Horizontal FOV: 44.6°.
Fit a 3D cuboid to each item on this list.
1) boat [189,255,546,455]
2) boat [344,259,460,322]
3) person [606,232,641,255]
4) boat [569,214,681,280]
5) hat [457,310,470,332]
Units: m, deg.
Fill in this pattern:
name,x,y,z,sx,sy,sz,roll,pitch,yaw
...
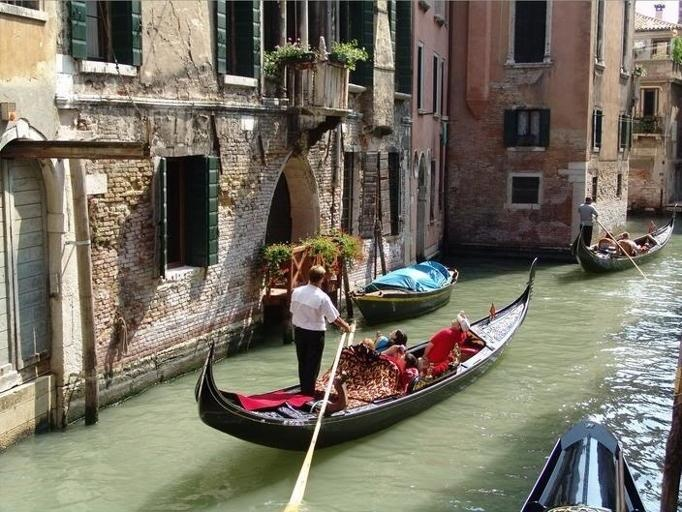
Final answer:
name,x,y,z,sx,sy,sz,roll,pitch,yaw
boat,0.286,1.644,13.573,0.973,1.891,6.004,22,24,33
boat,1.456,0.772,17.762,0.932,0.806,2.951,4,6,31
person,8.299,-0.226,24.581,0.368,0.655,2.640,-22,-7,31
boat,8.588,-0.211,25.329,0.960,1.404,4.445,24,28,33
hat,2.135,1.140,14.507,0.136,0.310,0.233,-22,0,4
